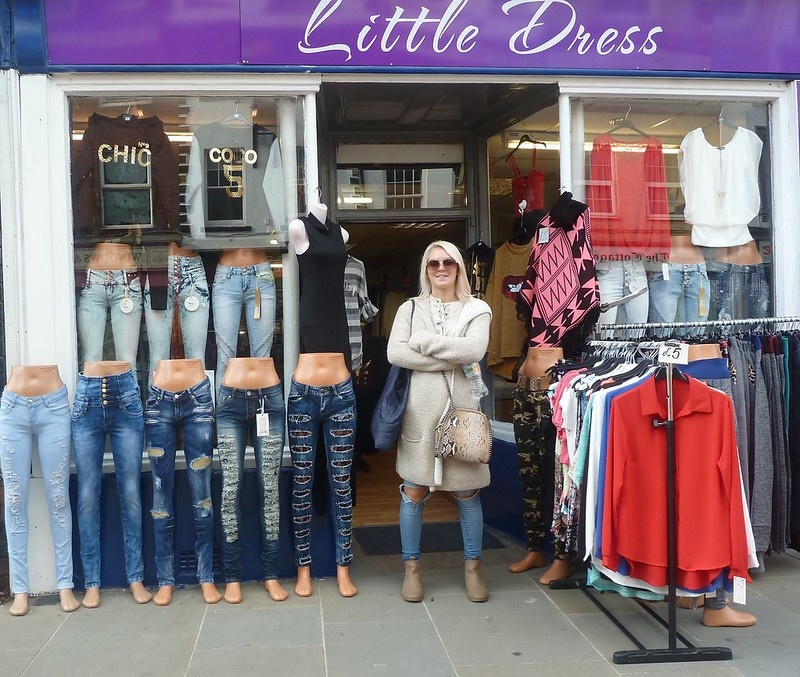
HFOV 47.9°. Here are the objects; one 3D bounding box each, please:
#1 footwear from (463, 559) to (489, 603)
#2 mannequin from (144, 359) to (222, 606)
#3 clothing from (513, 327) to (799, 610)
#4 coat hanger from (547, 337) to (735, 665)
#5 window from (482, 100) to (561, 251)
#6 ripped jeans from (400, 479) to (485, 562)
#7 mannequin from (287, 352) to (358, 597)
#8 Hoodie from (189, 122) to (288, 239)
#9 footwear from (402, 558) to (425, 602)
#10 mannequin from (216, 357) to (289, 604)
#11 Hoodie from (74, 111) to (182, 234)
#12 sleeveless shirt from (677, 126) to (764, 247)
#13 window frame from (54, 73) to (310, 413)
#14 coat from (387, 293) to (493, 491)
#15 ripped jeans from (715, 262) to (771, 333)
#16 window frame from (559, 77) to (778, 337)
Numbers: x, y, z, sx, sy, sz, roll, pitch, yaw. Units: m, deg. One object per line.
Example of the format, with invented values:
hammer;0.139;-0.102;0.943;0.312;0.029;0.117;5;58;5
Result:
footwear;0.394;1.260;4.794;0.107;0.145;0.329;-3;9;-6
mannequin;-1.124;0.743;4.686;0.354;1.250;0.294;-3;12;-12
clothing;1.295;0.655;4.470;1.373;1.327;0.144;-1;-1;-2
coat hanger;1.230;0.741;4.301;0.544;1.352;0.662;-1;12;-1
window;0.844;-1.145;6.236;0.050;0.932;0.847;6;-22;-27
ripped jeans;0.238;1.034;5.091;0.553;0.529;0.219;0;-10;-3
mannequin;-0.410;0.709;4.774;0.345;1.261;0.291;-1;12;-4
Hoodie;-0.946;-0.895;5.165;0.657;0.814;0.095;0;0;-7
footwear;0.061;1.258;4.764;0.101;0.182;0.270;2;4;-6
mannequin;-0.771;0.729;4.712;0.347;1.242;0.303;-2;12;-8
Hoodie;-1.560;-0.945;5.098;0.673;0.788;0.095;0;7;-8
sleeveless shirt;1.986;-0.986;5.671;0.718;0.988;0.141;-1;0;-4
window frame;-1.266;-0.504;5.036;1.828;2.404;0.137;-1;-1;-7
coat;0.204;0.249;4.760;0.486;0.948;0.348;0;-3;15
ripped jeans;2.125;-0.242;5.608;0.400;0.531;0.273;1;-6;-4
window frame;1.595;-0.847;5.558;1.538;1.817;0.099;-1;-2;-9
